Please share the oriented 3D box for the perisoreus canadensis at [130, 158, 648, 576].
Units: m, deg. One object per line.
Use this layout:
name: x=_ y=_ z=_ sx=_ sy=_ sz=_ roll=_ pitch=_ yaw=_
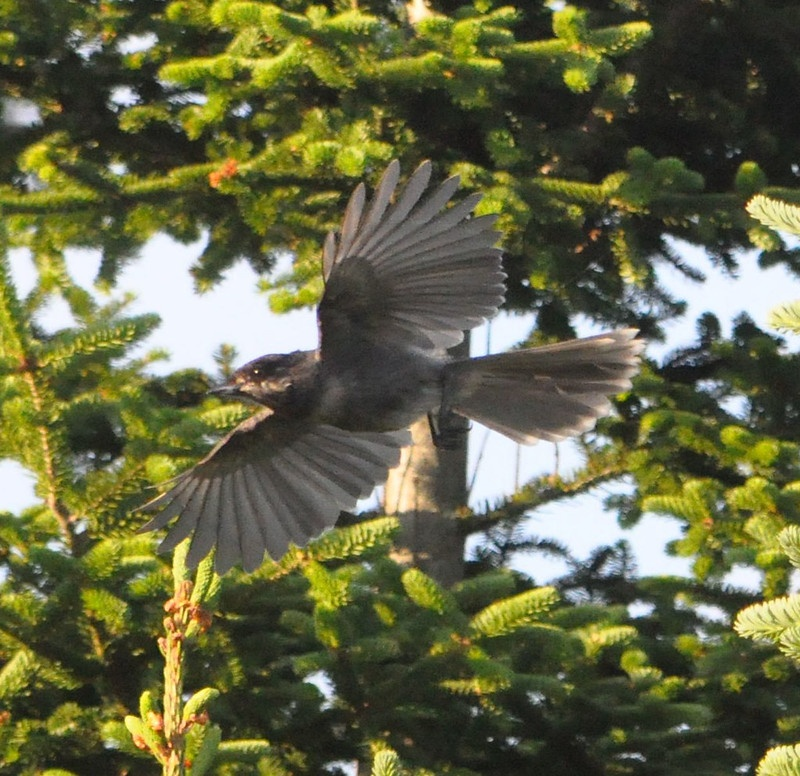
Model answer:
perisoreus canadensis: x=0.096 y=-0.087 z=9.390 sx=1.525 sy=0.683 sz=2.010 roll=-13 pitch=-35 yaw=-18
